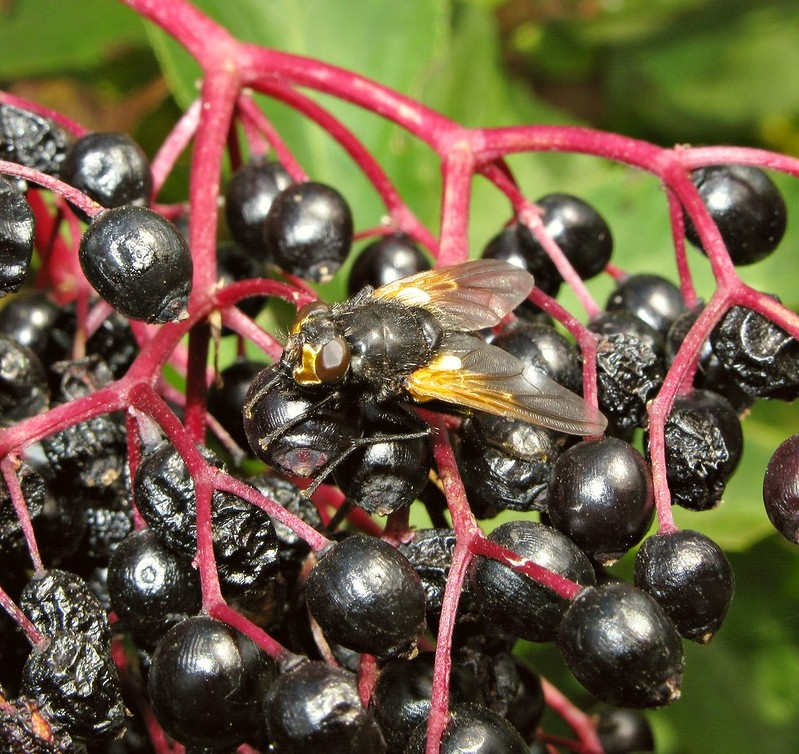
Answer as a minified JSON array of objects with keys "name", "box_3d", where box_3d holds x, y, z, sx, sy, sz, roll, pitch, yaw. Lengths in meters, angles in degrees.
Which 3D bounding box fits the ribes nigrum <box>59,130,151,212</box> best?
[{"name":"ribes nigrum","box_3d":[-0.605,-0.428,2.023,0.157,0.205,0.169,20,28,37]}]

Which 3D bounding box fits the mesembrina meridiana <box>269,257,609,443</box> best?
[{"name":"mesembrina meridiana","box_3d":[0.068,-0.063,1.817,0.452,0.400,0.594,3,20,10]}]

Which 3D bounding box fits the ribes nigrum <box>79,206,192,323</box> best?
[{"name":"ribes nigrum","box_3d":[-0.427,-0.217,1.670,0.227,0.177,0.214,-10,23,-30]}]
